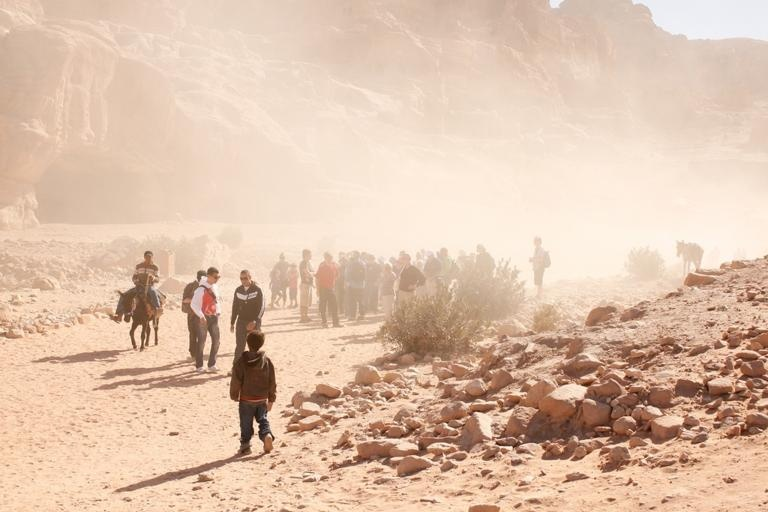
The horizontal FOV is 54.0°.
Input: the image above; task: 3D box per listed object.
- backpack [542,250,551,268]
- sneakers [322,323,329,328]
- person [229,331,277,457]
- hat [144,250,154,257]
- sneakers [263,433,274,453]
[{"bbox_3d":[5.492,0.096,25.207,0.142,0.523,0.821,0,-5,20],"label":"backpack"},{"bbox_3d":[-1.692,2.014,21.965,0.170,0.110,0.315,2,-5,2],"label":"sneakers"},{"bbox_3d":[-2.275,2.416,13.366,0.759,2.175,0.806,0,-6,16],"label":"person"},{"bbox_3d":[-6.432,-0.068,20.589,0.267,0.134,0.363,3,0,-8],"label":"hat"},{"bbox_3d":[-2.029,3.284,13.254,0.145,0.323,0.134,3,0,-27],"label":"sneakers"}]
